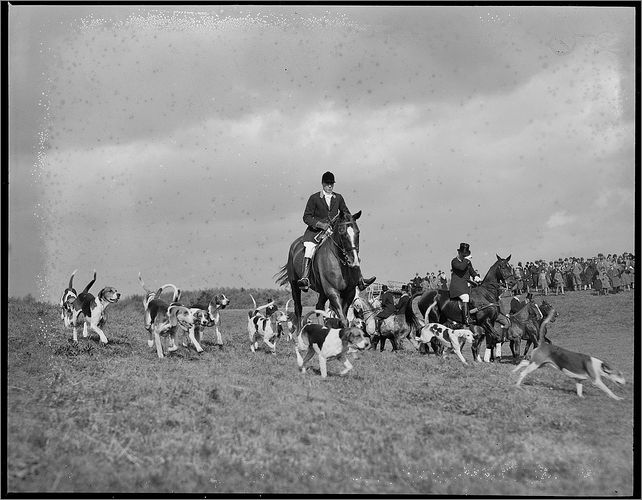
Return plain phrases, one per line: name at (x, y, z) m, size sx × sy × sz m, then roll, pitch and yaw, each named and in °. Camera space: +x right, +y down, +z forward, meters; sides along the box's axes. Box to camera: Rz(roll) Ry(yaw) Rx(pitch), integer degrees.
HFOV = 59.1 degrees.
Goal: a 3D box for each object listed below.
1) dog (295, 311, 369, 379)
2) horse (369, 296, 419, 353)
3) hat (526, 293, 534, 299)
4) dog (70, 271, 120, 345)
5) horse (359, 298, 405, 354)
dog at (0.092, 2.130, 12.844) m, size 1.986 × 1.617 × 0.699 m, roll 5°, pitch -1°, yaw 40°
horse at (2.173, 2.348, 17.736) m, size 2.232 × 1.773 × 0.632 m, roll -3°, pitch 3°, yaw 39°
hat at (5.949, 1.314, 16.084) m, size 0.120 × 0.190 × 0.154 m, roll -2°, pitch 2°, yaw 10°
dog at (-5.830, 1.604, 14.287) m, size 1.376 × 1.444 × 0.777 m, roll 9°, pitch 13°, yaw 30°
horse at (1.828, 2.362, 17.851) m, size 1.925 × 1.692 × 0.586 m, roll 7°, pitch -9°, yaw -17°
